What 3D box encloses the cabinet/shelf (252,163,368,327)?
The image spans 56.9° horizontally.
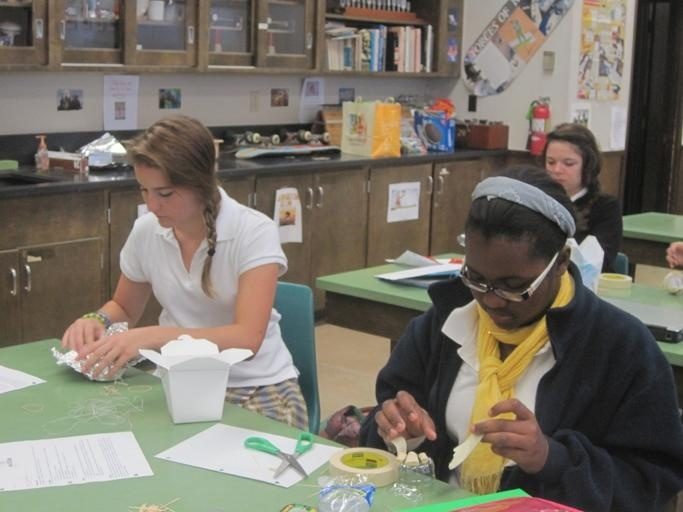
[{"bbox_3d":[-0.242,-0.217,4.423,0.840,0.867,0.282,-9,33,-15],"label":"cabinet/shelf"}]

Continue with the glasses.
[{"bbox_3d":[0.354,0.039,1.271,0.211,0.100,0.062,-1,7,-3],"label":"glasses"}]

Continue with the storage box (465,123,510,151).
[{"bbox_3d":[1.250,-1.019,5.321,0.360,0.225,0.213,0,8,5],"label":"storage box"}]

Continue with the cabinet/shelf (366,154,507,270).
[{"bbox_3d":[0.638,-0.344,5.141,1.095,1.016,0.400,-9,29,-18],"label":"cabinet/shelf"}]

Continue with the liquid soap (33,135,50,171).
[{"bbox_3d":[-1.752,-0.606,3.667,0.076,0.217,0.279,-4,8,-25],"label":"liquid soap"}]

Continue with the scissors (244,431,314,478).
[{"bbox_3d":[-0.131,0.405,1.288,0.146,0.036,0.146,-1,7,-5],"label":"scissors"}]

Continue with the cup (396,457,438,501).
[{"bbox_3d":[0.149,0.441,1.234,0.055,0.055,0.056,-1,-5,0],"label":"cup"}]

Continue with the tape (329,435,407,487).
[{"bbox_3d":[0.045,0.414,1.231,0.135,0.052,0.100,0,7,4],"label":"tape"}]

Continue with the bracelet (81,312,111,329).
[{"bbox_3d":[-0.709,0.180,1.806,0.054,0.058,0.058,-5,-12,0],"label":"bracelet"}]
